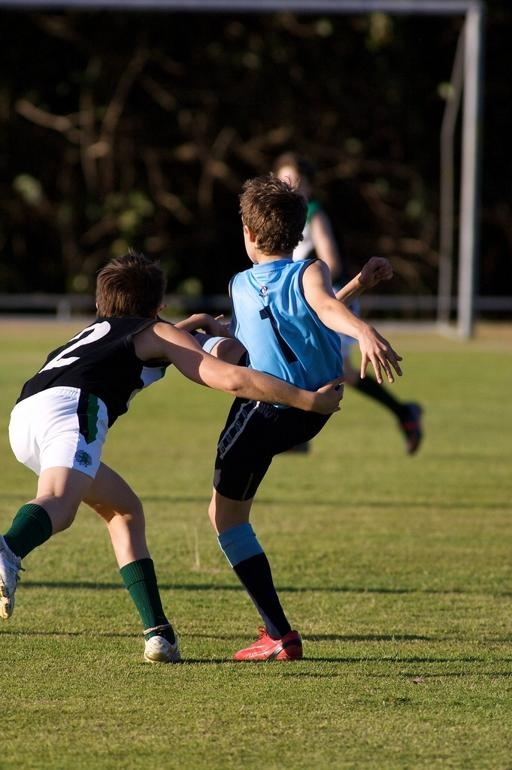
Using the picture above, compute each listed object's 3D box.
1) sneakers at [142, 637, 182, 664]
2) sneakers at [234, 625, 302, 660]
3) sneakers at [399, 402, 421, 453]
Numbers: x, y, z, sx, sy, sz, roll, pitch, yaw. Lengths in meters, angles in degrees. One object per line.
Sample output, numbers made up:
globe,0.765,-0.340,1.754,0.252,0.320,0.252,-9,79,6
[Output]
sneakers,-0.258,0.737,2.904,0.054,0.049,0.119,0,-4,19
sneakers,0.051,0.762,3.072,0.238,0.085,0.074,-3,-19,9
sneakers,1.010,0.271,6.754,0.163,0.310,0.118,-9,9,-38
